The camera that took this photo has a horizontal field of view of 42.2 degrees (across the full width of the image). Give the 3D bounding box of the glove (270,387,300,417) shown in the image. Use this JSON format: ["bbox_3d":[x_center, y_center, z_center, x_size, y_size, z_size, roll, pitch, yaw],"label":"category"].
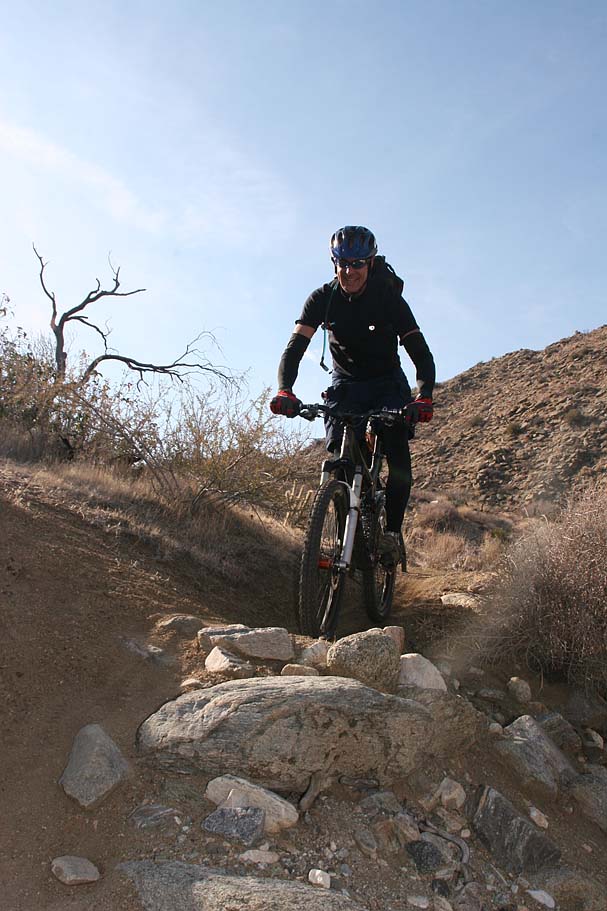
[{"bbox_3d":[-0.110,-0.314,4.692,0.145,0.154,0.209,6,2,-33],"label":"glove"}]

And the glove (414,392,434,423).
[{"bbox_3d":[0.736,-0.283,4.678,0.119,0.166,0.169,1,-4,1],"label":"glove"}]

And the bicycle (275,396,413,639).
[{"bbox_3d":[0.294,0.415,4.882,0.543,1.398,1.410,7,1,15],"label":"bicycle"}]

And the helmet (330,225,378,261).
[{"bbox_3d":[0.298,-1.274,4.780,0.264,0.203,0.170,7,1,1],"label":"helmet"}]

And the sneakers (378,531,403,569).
[{"bbox_3d":[0.566,0.624,5.244,0.127,0.176,0.387,1,-20,14],"label":"sneakers"}]
